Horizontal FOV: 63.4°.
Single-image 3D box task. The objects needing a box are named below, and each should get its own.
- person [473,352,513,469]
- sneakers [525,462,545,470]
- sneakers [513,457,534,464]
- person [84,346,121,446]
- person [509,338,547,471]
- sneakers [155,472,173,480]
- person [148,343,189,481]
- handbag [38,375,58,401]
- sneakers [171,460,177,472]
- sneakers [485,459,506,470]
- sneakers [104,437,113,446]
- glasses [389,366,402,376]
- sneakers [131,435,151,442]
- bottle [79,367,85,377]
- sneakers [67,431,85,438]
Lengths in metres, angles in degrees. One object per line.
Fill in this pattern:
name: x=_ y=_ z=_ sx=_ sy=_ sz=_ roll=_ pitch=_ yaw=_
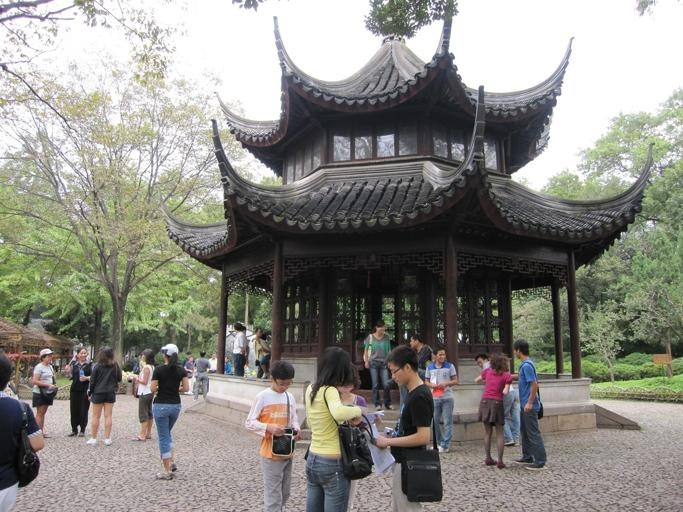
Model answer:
person: x=2.862 y=2.895 z=10.427 sx=0.618 sy=1.996 sz=1.359 roll=-1 pitch=-13 yaw=13
sneakers: x=3.405 y=3.745 z=9.809 sx=0.355 sy=0.151 sz=0.132 roll=1 pitch=-8 yaw=4
sneakers: x=3.309 y=3.759 z=10.104 sx=0.335 sy=0.145 sz=0.131 roll=3 pitch=-11 yaw=5
person: x=-5.015 y=2.940 z=11.643 sx=0.587 sy=2.014 sz=1.166 roll=7 pitch=-13 yaw=-23
person: x=3.357 y=2.655 z=9.933 sx=0.480 sy=2.257 sz=1.381 roll=-2 pitch=-13 yaw=19
sneakers: x=-2.999 y=3.695 z=9.316 sx=0.228 sy=0.104 sz=0.123 roll=5 pitch=-6 yaw=6
person: x=-2.959 y=2.642 z=9.424 sx=0.615 sy=2.232 sz=0.596 roll=4 pitch=-12 yaw=-9
handbag: x=-6.354 y=2.937 z=12.015 sx=0.327 sy=0.676 sz=0.353 roll=7 pitch=7 yaw=44
sneakers: x=-2.844 y=3.596 z=9.455 sx=0.128 sy=0.228 sz=0.114 roll=-6 pitch=-21 yaw=-11
sneakers: x=2.745 y=3.741 z=9.918 sx=0.337 sy=0.148 sz=0.135 roll=23 pitch=-21 yaw=-18
sneakers: x=-4.914 y=3.901 z=11.606 sx=0.120 sy=0.150 sz=0.338 roll=1 pitch=-14 yaw=-6
glasses: x=0.631 y=1.339 z=6.395 sx=0.034 sy=0.113 sz=0.103 roll=2 pitch=-2 yaw=-30
sneakers: x=-4.390 y=4.018 z=12.096 sx=0.325 sy=0.096 sz=0.143 roll=5 pitch=-19 yaw=1
bottle: x=-5.816 y=2.622 z=12.422 sx=0.113 sy=0.220 sz=0.052 roll=1 pitch=-12 yaw=5
sneakers: x=-5.970 y=4.037 z=12.476 sx=0.377 sy=0.167 sz=0.131 roll=13 pitch=-27 yaw=-17
